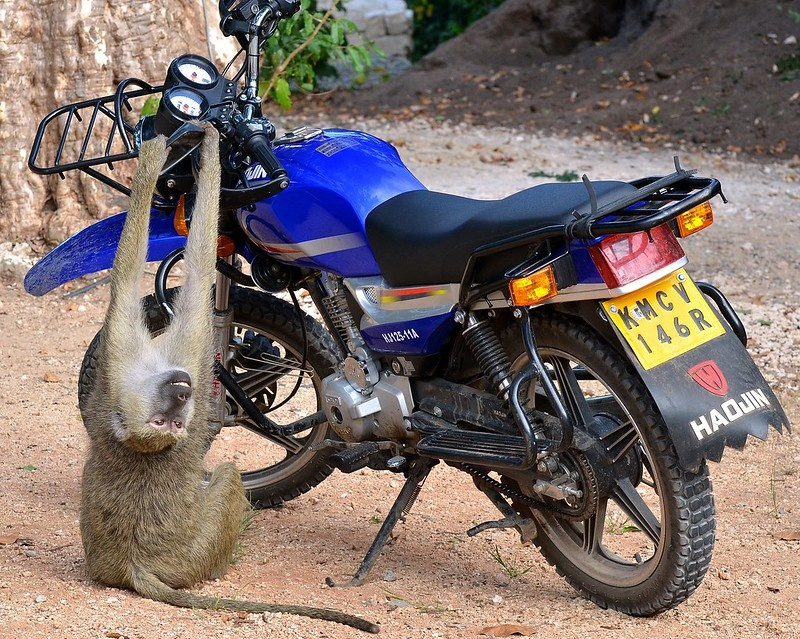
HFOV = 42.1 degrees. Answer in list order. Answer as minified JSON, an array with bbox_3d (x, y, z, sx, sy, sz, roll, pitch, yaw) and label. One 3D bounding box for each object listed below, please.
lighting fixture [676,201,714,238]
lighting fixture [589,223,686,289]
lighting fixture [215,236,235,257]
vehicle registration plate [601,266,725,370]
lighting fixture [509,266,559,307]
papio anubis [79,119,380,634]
[{"bbox_3d":[1.091,-0.377,3.834,0.125,0.131,0.224,10,9,13],"label":"lighting fixture"},{"bbox_3d":[0.879,-0.236,3.777,0.397,0.241,0.140,0,13,-39],"label":"lighting fixture"},{"bbox_3d":[-0.749,-0.316,4.443,0.100,0.066,0.025,-31,6,11],"label":"lighting fixture"},{"bbox_3d":[0.990,-0.017,3.802,0.022,0.302,0.453,-39,2,-32],"label":"vehicle registration plate"},{"bbox_3d":[0.484,-0.117,3.703,0.175,0.117,0.059,-16,18,-15],"label":"lighting fixture"},{"bbox_3d":[-0.772,0.169,3.806,0.711,1.767,0.476,5,11,-15],"label":"papio anubis"}]
